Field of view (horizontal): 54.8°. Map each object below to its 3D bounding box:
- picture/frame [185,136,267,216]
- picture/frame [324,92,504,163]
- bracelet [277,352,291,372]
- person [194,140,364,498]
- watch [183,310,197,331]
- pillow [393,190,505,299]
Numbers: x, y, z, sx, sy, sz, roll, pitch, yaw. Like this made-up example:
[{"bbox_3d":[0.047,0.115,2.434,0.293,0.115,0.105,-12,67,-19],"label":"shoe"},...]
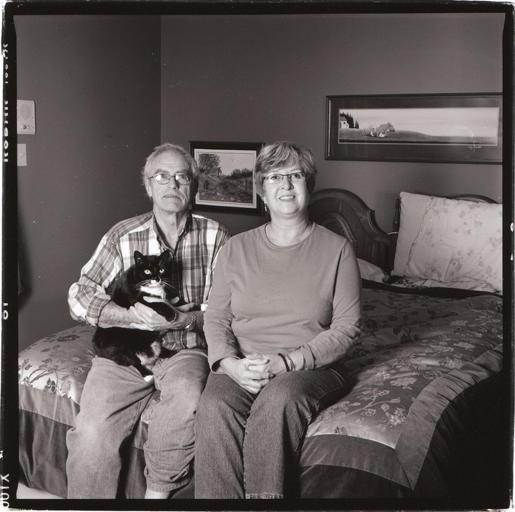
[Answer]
[{"bbox_3d":[-0.191,-0.534,3.147,0.564,0.580,0.045,3,6,14],"label":"picture/frame"},{"bbox_3d":[0.954,-0.802,3.121,1.072,0.507,0.024,3,-20,11],"label":"picture/frame"},{"bbox_3d":[0.076,0.318,1.487,0.043,0.048,0.017,4,8,7],"label":"bracelet"},{"bbox_3d":[0.053,0.176,1.538,0.513,1.063,0.481,4,8,12],"label":"person"},{"bbox_3d":[-0.250,0.233,1.816,0.040,0.019,0.059,-10,43,25],"label":"watch"},{"bbox_3d":[1.090,-0.069,2.843,0.592,0.549,0.166,9,7,40],"label":"pillow"}]
